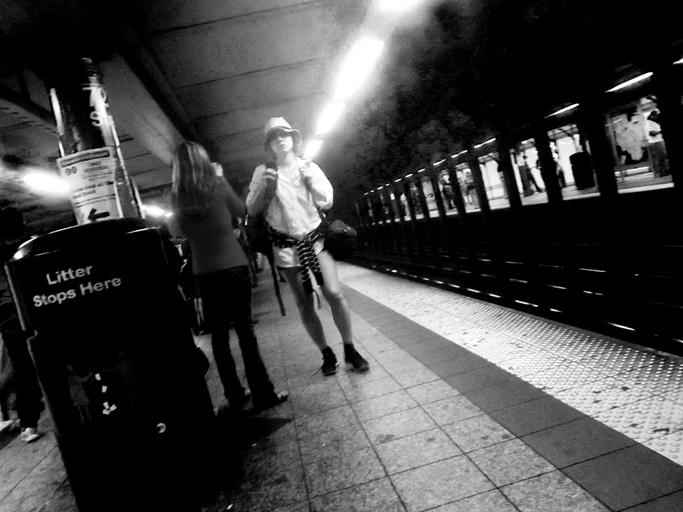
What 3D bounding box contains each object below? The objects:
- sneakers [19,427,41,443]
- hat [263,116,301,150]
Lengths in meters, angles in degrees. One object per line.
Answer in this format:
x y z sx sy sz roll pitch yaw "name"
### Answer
-2.509 1.444 3.899 0.126 0.056 0.152 0 -2 4 "sneakers"
-0.448 -0.915 3.540 0.225 0.134 0.262 -15 -22 -3 "hat"
